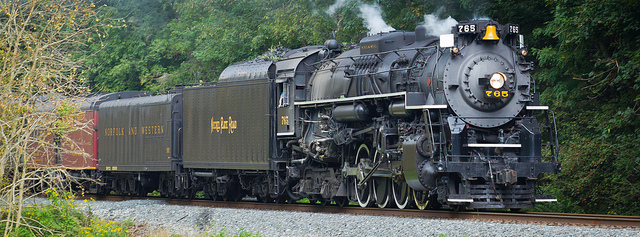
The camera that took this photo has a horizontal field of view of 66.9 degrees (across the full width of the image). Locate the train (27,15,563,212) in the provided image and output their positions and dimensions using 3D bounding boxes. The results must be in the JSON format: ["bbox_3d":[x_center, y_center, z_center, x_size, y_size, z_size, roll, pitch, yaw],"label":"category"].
[{"bbox_3d":[-4.299,0.229,32.288,36.076,11.405,4.636,0,9,23],"label":"train"}]
